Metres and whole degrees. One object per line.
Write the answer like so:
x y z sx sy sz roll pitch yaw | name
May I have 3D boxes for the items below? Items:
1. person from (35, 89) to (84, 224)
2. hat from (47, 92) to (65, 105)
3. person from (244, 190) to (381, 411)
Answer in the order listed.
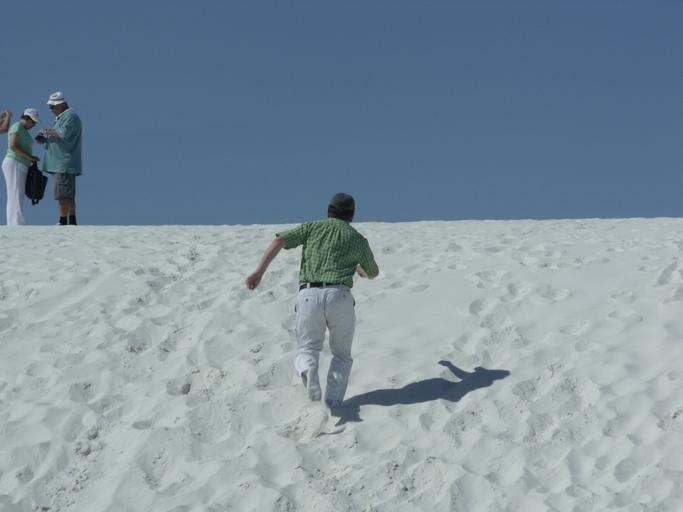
-4.656 -1.554 9.059 0.710 2.136 0.344 5 13 5 | person
-4.601 -2.472 8.719 0.205 0.186 0.349 -3 15 -25 | hat
-0.178 0.336 3.866 0.845 1.506 0.586 2 13 -5 | person
